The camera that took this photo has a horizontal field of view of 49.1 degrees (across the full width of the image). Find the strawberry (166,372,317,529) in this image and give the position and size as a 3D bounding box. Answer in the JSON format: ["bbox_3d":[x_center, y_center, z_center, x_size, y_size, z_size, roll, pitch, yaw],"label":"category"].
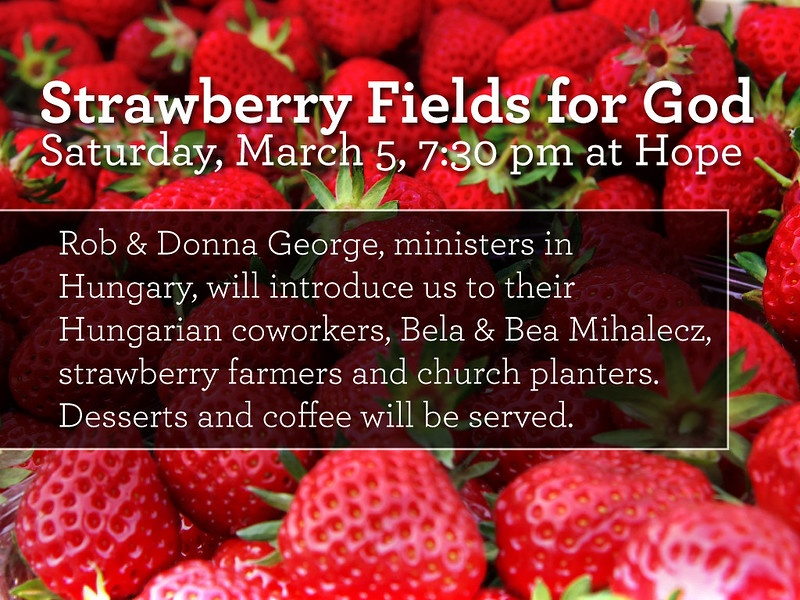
[{"bbox_3d":[-0.163,0.150,0.866,0.155,0.048,0.148,-18,86,-1],"label":"strawberry"}]
